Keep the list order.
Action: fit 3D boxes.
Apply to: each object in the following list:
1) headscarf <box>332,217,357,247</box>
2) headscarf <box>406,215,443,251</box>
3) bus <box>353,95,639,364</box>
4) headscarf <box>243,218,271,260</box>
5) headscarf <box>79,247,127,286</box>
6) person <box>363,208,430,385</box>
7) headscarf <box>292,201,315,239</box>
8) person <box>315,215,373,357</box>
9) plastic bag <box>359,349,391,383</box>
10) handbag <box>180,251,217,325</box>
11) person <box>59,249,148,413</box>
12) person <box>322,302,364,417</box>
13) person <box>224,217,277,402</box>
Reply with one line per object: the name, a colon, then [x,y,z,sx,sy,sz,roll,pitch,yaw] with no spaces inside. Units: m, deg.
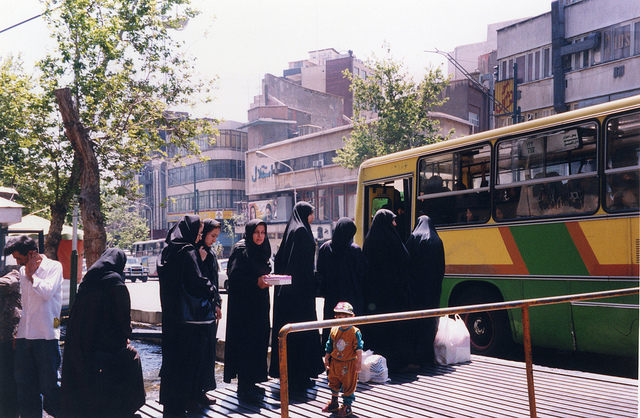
headscarf: [0.467,0.413,13.424,0.520,0.622,0.340,6,21,-14]
headscarf: [2.109,0.481,13.904,0.556,0.728,0.717,7,-11,-32]
bus: [4.006,0.611,14.720,5.331,4.932,0.596,-8,-9,38]
headscarf: [-1.139,0.534,12.913,0.484,0.771,0.434,0,-8,-14]
headscarf: [-3.722,0.979,12.133,0.737,0.664,0.288,0,-8,-17]
person: [1.445,1.588,13.475,1.147,3.182,0.588,-2,-7,2]
headscarf: [-0.313,0.187,13.098,0.530,0.778,0.598,-9,0,-8]
person: [0.462,1.549,13.691,1.030,2.827,0.995,0,17,4]
plastic bag: [1.071,3.008,13.216,0.617,0.507,0.577,19,-41,-32]
handbag: [-2.181,1.358,12.542,0.654,1.427,0.212,-2,-30,-18]
person: [-3.698,2.076,12.073,1.334,2.802,0.470,1,-8,-21]
person: [0.378,2.549,12.148,0.720,1.906,0.536,-4,-8,16]
person: [-1.292,1.799,12.717,0.885,3.204,0.460,-2,-7,-4]
